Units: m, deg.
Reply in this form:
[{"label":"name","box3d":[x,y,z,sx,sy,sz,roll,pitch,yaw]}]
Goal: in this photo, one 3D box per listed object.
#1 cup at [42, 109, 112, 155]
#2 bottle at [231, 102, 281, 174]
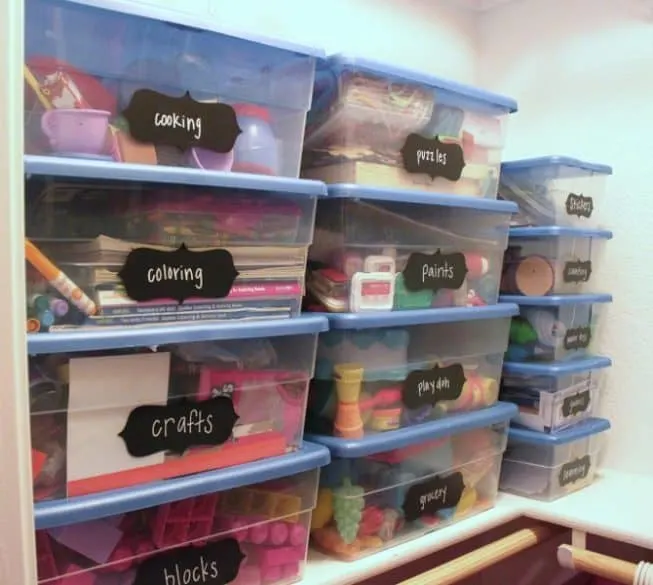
[{"label":"cup","box3d":[-0.311,-0.203,0.650,0.072,0.042,0.059,-2,5,-19]},{"label":"bottle","box3d":[-0.106,-0.232,0.790,0.089,0.089,0.096,3,3,11]}]
